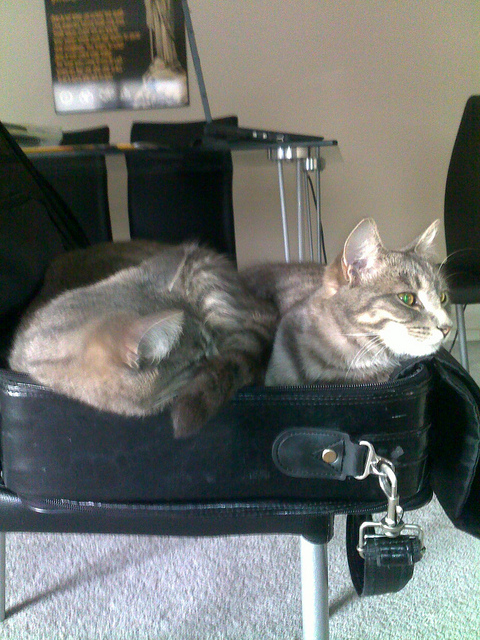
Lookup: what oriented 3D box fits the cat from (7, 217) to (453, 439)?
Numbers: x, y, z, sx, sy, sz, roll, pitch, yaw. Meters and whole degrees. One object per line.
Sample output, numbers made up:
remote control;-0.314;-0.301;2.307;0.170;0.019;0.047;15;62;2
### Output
cat;0.016;0.008;0.811;0.368;0.322;0.211;1;100;-15
